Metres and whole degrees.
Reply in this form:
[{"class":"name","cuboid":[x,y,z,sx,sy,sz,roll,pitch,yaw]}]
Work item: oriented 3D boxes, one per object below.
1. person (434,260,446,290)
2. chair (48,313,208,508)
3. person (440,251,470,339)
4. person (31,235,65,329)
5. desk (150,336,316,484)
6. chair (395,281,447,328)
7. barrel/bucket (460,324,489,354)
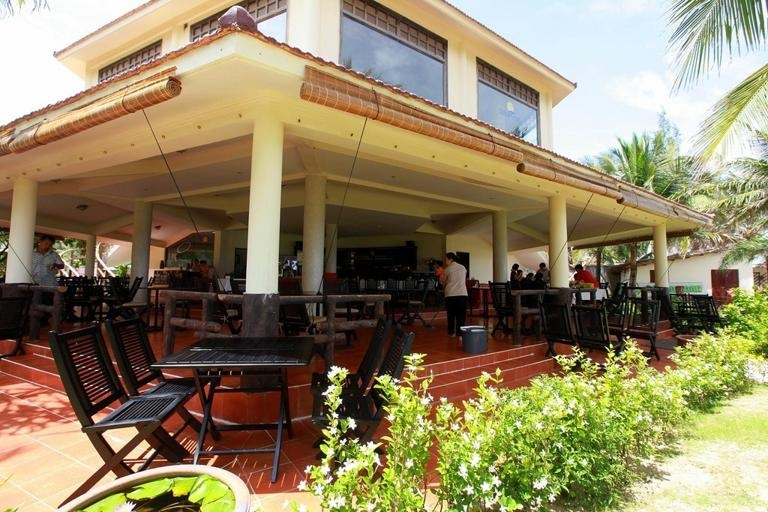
[{"class":"person","cuboid":[1.492,0.532,12.535,0.290,0.832,0.626,-5,-11,0]},{"class":"chair","cuboid":[-3.409,1.668,6.223,2.024,2.374,1.615,0,1,1]},{"class":"person","cuboid":[1.432,0.761,9.308,0.452,1.697,0.694,-3,-5,8]},{"class":"person","cuboid":[-6.685,0.467,9.220,0.521,1.901,1.521,1,-6,-35]},{"class":"desk","cuboid":[-1.742,1.848,6.009,1.611,1.333,1.830,1,-11,0]},{"class":"chair","cuboid":[0.907,1.196,12.094,1.349,1.588,1.193,8,-11,-29]},{"class":"barrel/bucket","cuboid":[1.669,1.523,8.416,0.488,0.375,0.428,1,-5,-15]}]
